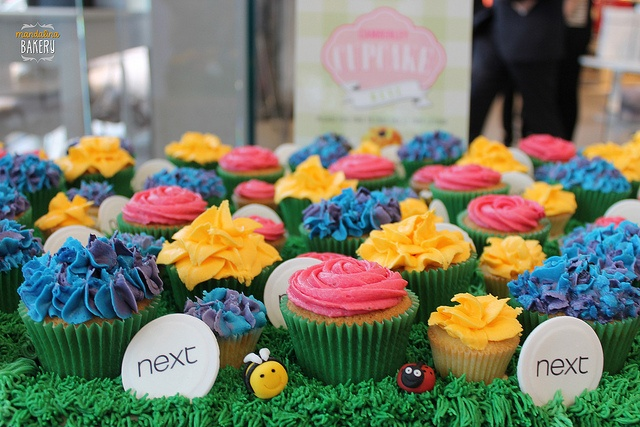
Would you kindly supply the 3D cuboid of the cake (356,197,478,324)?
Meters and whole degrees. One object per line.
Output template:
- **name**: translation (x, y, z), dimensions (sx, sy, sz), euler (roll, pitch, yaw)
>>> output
- **cake**: translation (0.646, 0.262, 4.096), dimensions (0.592, 0.652, 0.679), euler (-1, 9, 4)

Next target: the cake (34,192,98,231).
- **cake**: translation (-1.787, -0.012, 4.412), dimensions (0.385, 0.228, 0.254), euler (-6, 14, -21)

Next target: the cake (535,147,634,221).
- **cake**: translation (2.112, -0.243, 5.050), dimensions (0.502, 0.407, 0.508), euler (-2, 7, -28)

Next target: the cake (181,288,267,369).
- **cake**: translation (-0.528, 0.662, 3.592), dimensions (0.425, 0.440, 0.185), euler (-3, 12, -9)

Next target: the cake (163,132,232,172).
- **cake**: translation (-1.129, -0.574, 5.798), dimensions (0.367, 0.302, 0.449), euler (10, 9, 17)

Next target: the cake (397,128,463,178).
- **cake**: translation (0.962, -0.527, 5.615), dimensions (0.380, 0.306, 0.351), euler (-4, 5, -6)

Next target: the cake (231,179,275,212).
- **cake**: translation (-0.541, -0.144, 5.101), dimensions (0.223, 0.203, 0.257), euler (4, 2, 42)

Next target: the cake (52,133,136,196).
- **cake**: translation (-1.785, -0.415, 5.062), dimensions (0.439, 0.450, 0.497), euler (-1, -13, -7)

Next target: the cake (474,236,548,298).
- **cake**: translation (1.181, 0.354, 4.067), dimensions (0.334, 0.421, 0.400), euler (3, -23, -6)

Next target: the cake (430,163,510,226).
- **cake**: translation (1.135, -0.198, 4.939), dimensions (0.440, 0.451, 0.479), euler (-1, 8, 1)

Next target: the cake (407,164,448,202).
- **cake**: translation (0.899, -0.275, 5.340), dimensions (0.251, 0.303, 0.309), euler (-5, 12, -8)

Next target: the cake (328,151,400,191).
- **cake**: translation (0.372, -0.347, 5.210), dimensions (0.350, 0.235, 0.340), euler (-1, 6, -22)

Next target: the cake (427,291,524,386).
- **cake**: translation (0.845, 0.669, 3.473), dimensions (0.438, 0.485, 0.463), euler (3, 15, 22)

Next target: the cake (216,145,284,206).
- **cake**: translation (-0.633, -0.322, 5.439), dimensions (0.418, 0.380, 0.473), euler (0, 2, 1)
